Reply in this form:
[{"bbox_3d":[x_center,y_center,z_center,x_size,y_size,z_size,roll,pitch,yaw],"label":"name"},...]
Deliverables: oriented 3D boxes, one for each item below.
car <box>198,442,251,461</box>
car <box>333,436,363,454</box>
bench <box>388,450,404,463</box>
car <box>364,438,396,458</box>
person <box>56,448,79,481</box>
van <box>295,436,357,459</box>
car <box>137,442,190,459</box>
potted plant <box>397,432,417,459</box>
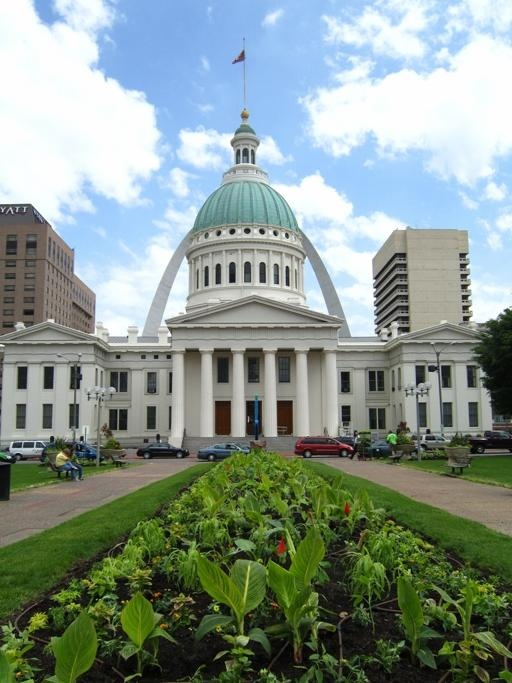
[{"bbox_3d":[-2.698,8.359,41.600,3.233,1.182,4.089,1,-9,-6],"label":"car"},{"bbox_3d":[8.031,8.506,46.747,2.321,1.109,1.201,-4,-5,0],"label":"car"},{"bbox_3d":[9.690,7.798,37.449,1.042,0.988,1.008,1,-14,0],"label":"bench"},{"bbox_3d":[9.774,8.112,41.828,1.281,0.746,2.180,-2,-1,34],"label":"car"},{"bbox_3d":[-8.766,5.595,25.263,1.116,1.360,3.074,3,-10,-20],"label":"person"},{"bbox_3d":[5.308,8.432,43.800,4.108,1.401,1.903,-2,-4,-4],"label":"van"},{"bbox_3d":[-8.097,9.454,47.536,4.264,1.198,1.639,-1,-5,0],"label":"car"},{"bbox_3d":[10.996,7.394,39.138,1.958,2.041,1.569,0,-10,-3],"label":"potted plant"}]
